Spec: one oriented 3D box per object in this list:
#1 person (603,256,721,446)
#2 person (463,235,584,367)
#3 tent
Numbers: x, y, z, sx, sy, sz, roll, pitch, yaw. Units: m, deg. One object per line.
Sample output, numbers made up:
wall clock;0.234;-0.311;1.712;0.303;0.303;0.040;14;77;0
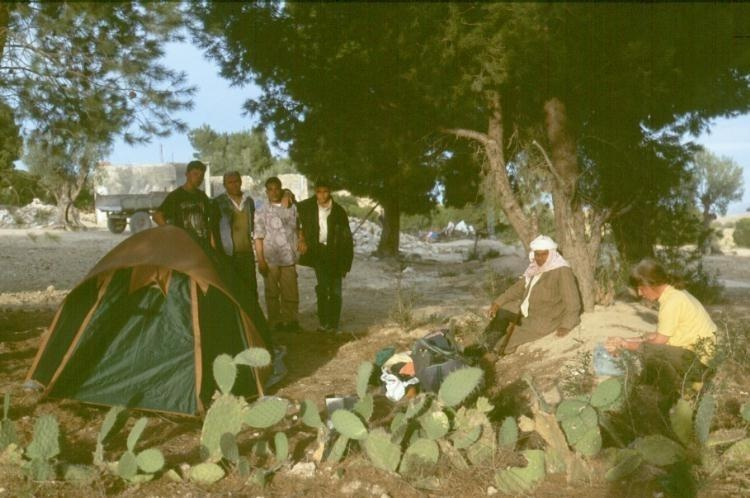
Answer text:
person;3.202;1.061;7.177;1.211;1.864;0.938;1;4;-6
person;2.063;0.712;8.654;1.189;1.631;1.016;4;9;16
tent;-2.918;0.568;8.549;2.956;1.910;2.982;2;-4;34
